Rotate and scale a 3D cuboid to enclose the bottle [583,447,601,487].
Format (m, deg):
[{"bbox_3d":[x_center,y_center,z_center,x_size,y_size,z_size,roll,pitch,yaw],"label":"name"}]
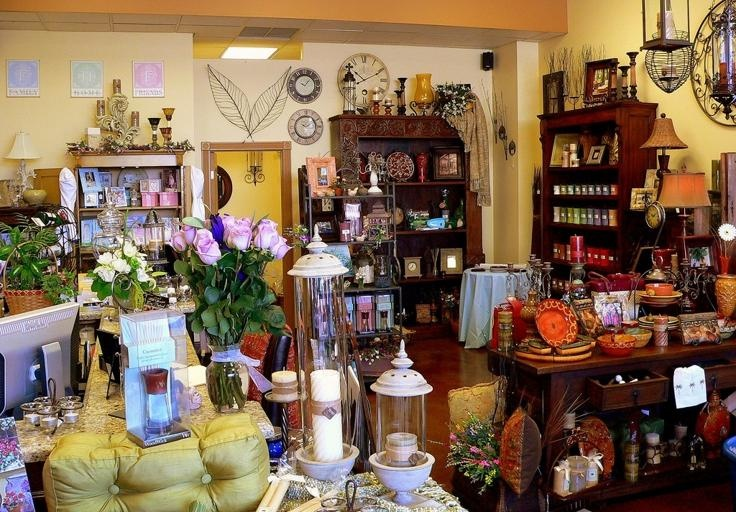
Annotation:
[{"bbox_3d":[1.499,1.447,3.942,0.156,0.197,0.141,8,-8,5],"label":"bottle"}]

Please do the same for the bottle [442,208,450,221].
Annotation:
[{"bbox_3d":[1.161,-0.590,8.745,0.139,0.241,0.140,0,4,0],"label":"bottle"}]

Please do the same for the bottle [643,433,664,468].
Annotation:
[{"bbox_3d":[2.083,1.423,4.248,0.107,0.191,0.111,1,-3,0],"label":"bottle"}]

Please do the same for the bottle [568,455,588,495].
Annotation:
[{"bbox_3d":[1.397,1.473,3.891,0.130,0.208,0.129,-1,1,0],"label":"bottle"}]

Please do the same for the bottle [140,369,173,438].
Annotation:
[{"bbox_3d":[-0.780,0.535,2.138,0.095,0.207,0.146,-6,6,-22],"label":"bottle"}]

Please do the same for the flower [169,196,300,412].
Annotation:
[{"bbox_3d":[-0.578,0.249,2.506,0.478,0.850,0.529,-4,-6,42],"label":"flower"}]

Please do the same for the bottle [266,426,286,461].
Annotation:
[{"bbox_3d":[-0.383,0.788,2.430,0.061,0.116,0.099,-3,6,10],"label":"bottle"}]

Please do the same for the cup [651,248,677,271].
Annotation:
[{"bbox_3d":[2.385,0.032,4.742,0.241,0.209,0.209,-1,0,33],"label":"cup"}]

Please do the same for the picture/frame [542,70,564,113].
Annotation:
[{"bbox_3d":[2.517,-2.142,7.971,0.440,0.649,0.073,-11,13,-35],"label":"picture/frame"}]

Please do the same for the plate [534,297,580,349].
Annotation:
[{"bbox_3d":[1.248,0.444,3.826,0.273,0.288,0.177,-3,6,10],"label":"plate"}]

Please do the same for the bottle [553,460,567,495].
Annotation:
[{"bbox_3d":[1.274,1.471,3.818,0.103,0.196,0.074,-2,6,13],"label":"bottle"}]

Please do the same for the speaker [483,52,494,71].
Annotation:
[{"bbox_3d":[1.822,-2.925,8.745,0.195,0.262,0.114,-5,6,-16],"label":"speaker"}]

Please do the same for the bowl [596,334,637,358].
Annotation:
[{"bbox_3d":[1.685,0.591,3.920,0.249,0.148,0.211,-2,6,15],"label":"bowl"}]

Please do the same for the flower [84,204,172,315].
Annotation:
[{"bbox_3d":[-1.176,0.011,2.719,0.325,0.488,0.352,-7,13,-6],"label":"flower"}]

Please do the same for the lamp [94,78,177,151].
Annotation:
[{"bbox_3d":[-2.943,-1.762,7.200,0.894,0.864,0.190,0,-1,-22],"label":"lamp"}]

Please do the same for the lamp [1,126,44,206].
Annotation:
[{"bbox_3d":[-4.204,-1.030,6.932,0.432,0.866,0.487,-5,6,-15],"label":"lamp"}]

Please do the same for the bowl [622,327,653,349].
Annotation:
[{"bbox_3d":[1.905,0.564,4.054,0.142,0.086,0.149,0,3,0],"label":"bowl"}]

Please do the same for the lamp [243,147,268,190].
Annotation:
[{"bbox_3d":[-2.275,-1.836,11.548,0.391,0.944,0.267,-2,22,-13],"label":"lamp"}]
